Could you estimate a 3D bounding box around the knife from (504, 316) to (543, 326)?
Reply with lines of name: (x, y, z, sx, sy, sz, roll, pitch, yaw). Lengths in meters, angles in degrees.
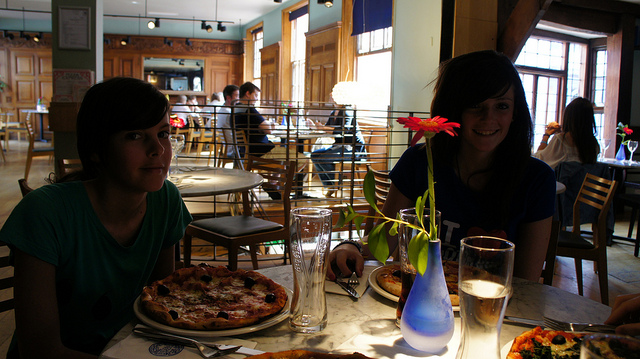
knife: (0.768, 0.538, 1.601, 0.104, 0.014, 0.015, 13, -4, 4)

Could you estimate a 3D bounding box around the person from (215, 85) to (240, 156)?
person: (-1.437, -1.017, 7.107, 0.643, 1.084, 0.549, -2, 23, -12)

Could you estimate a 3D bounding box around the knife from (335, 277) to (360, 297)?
knife: (0.111, 0.444, 1.732, 0.029, 0.009, 0.195, -22, 19, -13)

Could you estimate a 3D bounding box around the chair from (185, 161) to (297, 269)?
chair: (-0.686, 0.362, 3.556, 0.945, 0.998, 0.922, 0, 7, 2)

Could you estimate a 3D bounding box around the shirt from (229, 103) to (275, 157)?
shirt: (-0.917, -0.649, 5.873, 0.495, 0.747, 1.408, -3, 8, -11)

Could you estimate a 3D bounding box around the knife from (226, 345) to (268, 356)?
knife: (-0.254, 0.591, 1.470, 0.125, 0.021, 0.040, 0, 8, 8)

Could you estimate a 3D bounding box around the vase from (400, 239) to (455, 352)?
vase: (0.391, 0.404, 1.495, 0.209, 0.405, 0.097, -1, 9, -1)

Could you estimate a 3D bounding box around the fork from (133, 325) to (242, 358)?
fork: (-0.468, 0.573, 1.481, 0.358, 0.042, 0.050, 6, 16, 7)
